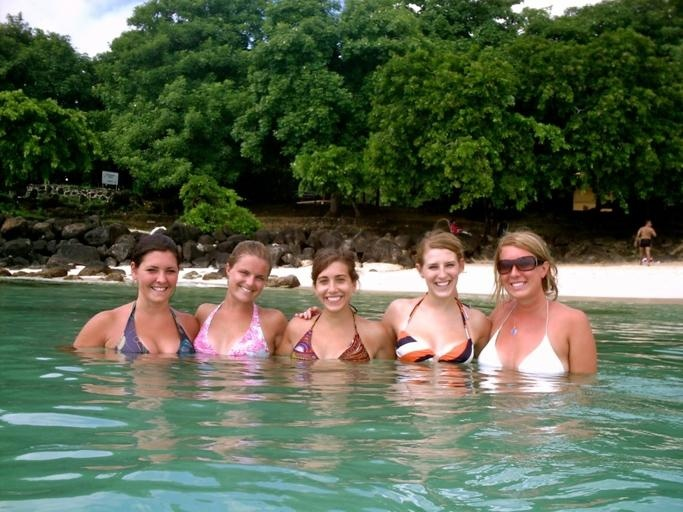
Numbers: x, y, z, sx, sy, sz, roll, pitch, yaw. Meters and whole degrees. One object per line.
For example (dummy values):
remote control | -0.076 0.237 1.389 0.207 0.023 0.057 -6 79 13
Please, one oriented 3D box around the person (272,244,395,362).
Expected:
person | -0.029 0.603 7.837 1.447 1.134 0.635 1 -4 14

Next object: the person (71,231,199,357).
person | -2.167 0.535 7.853 1.764 1.333 0.705 8 -11 -38

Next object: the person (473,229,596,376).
person | 2.021 0.478 7.162 1.198 1.460 0.658 8 11 40
